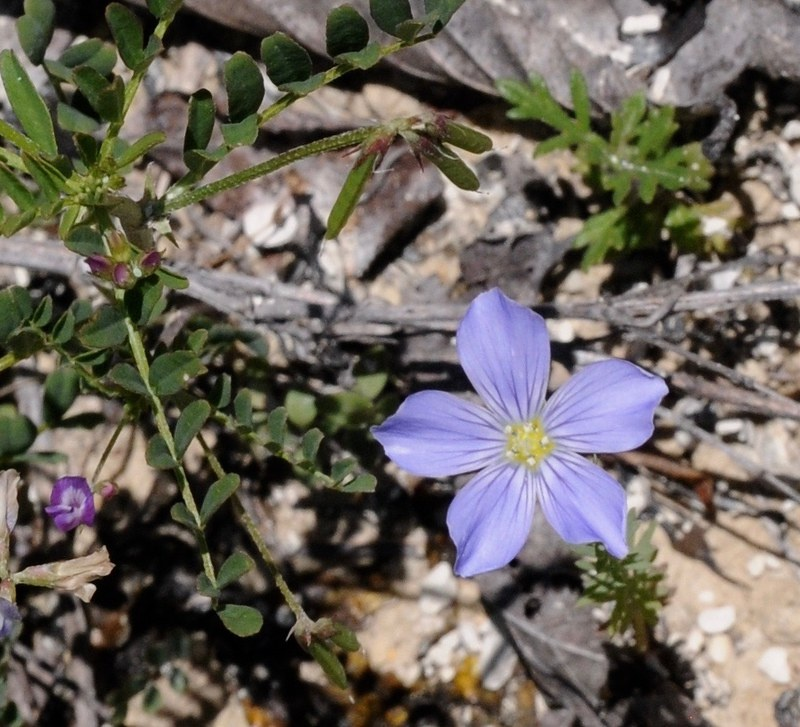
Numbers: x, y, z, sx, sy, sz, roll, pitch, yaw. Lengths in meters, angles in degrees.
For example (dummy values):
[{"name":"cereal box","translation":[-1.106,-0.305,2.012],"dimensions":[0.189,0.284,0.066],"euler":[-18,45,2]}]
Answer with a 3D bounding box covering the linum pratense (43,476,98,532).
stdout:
[{"name":"linum pratense","translation":[-1.061,0.451,2.922],"dimensions":[0.160,0.067,0.178],"euler":[-30,66,-9]}]
